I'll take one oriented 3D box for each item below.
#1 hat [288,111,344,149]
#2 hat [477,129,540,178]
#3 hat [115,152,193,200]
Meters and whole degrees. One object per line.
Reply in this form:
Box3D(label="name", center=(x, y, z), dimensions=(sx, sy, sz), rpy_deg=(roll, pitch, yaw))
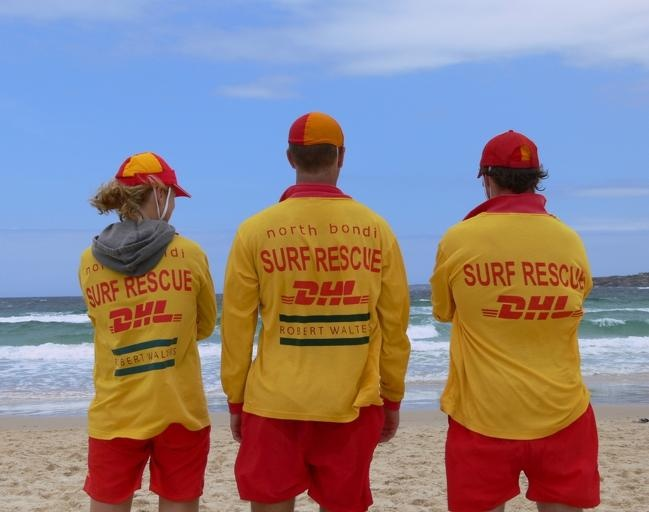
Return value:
Box3D(label="hat", center=(-0.061, -1.087, 10.077), dimensions=(0.517, 0.300, 0.617), rpy_deg=(5, 7, 17))
Box3D(label="hat", center=(1.623, -0.898, 10.026), dimensions=(0.538, 0.350, 0.672), rpy_deg=(1, 20, -15))
Box3D(label="hat", center=(-1.476, -0.702, 10.226), dimensions=(0.675, 0.292, 0.420), rpy_deg=(5, -13, -2))
